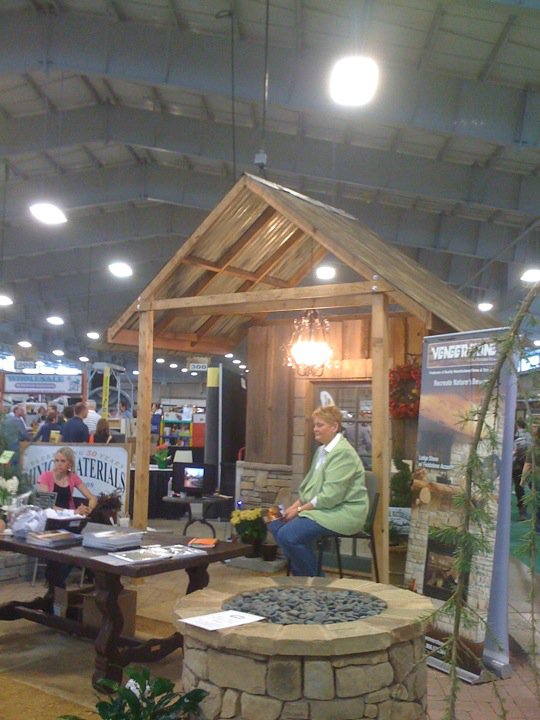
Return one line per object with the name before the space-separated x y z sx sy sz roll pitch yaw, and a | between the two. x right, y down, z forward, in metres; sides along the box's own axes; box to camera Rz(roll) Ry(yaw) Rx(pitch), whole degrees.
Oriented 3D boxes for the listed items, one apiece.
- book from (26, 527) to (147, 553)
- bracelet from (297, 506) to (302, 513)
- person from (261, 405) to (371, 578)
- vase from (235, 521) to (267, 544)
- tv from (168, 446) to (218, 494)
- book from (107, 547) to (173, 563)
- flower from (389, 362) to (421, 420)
book | -1.186 1.212 3.922 0.335 0.064 0.311 -1 -6 21
bracelet | 0.229 1.198 4.671 0.058 0.049 0.040 -6 -3 12
person | 0.430 1.073 4.731 0.775 1.390 0.737 3 -4 -5
vase | -0.219 1.948 6.757 0.403 0.269 0.394 1 -4 2
tv | -1.058 1.497 8.202 0.910 0.594 0.980 -1 -12 5
book | -0.807 1.196 3.571 0.360 0.027 0.263 -4 -7 30
flower | 1.478 0.336 6.497 0.328 0.682 0.323 2 -4 12
